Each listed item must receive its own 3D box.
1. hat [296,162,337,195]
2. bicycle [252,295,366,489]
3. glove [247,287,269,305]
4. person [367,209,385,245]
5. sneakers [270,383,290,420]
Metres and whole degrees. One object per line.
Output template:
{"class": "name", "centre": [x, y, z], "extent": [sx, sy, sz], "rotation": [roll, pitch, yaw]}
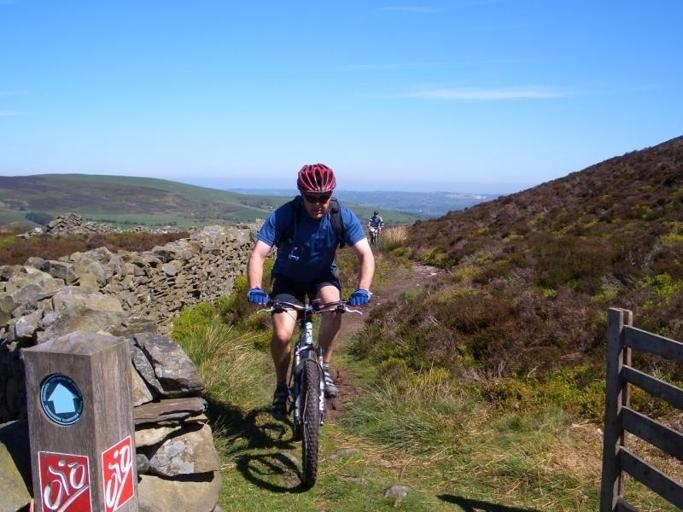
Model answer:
{"class": "hat", "centre": [-0.288, -0.859, 5.761], "extent": [0.407, 0.339, 0.247], "rotation": [3, 7, -6]}
{"class": "bicycle", "centre": [-0.367, 1.497, 5.662], "extent": [0.979, 1.388, 2.134], "rotation": [3, -5, -5]}
{"class": "glove", "centre": [-0.915, 0.469, 5.639], "extent": [0.262, 0.193, 0.209], "rotation": [-1, 8, -32]}
{"class": "person", "centre": [1.658, -1.116, 22.959], "extent": [0.821, 0.955, 1.375], "rotation": [0, -1, -1]}
{"class": "sneakers", "centre": [-0.731, 1.786, 6.147], "extent": [0.149, 0.189, 0.451], "rotation": [2, 13, -7]}
